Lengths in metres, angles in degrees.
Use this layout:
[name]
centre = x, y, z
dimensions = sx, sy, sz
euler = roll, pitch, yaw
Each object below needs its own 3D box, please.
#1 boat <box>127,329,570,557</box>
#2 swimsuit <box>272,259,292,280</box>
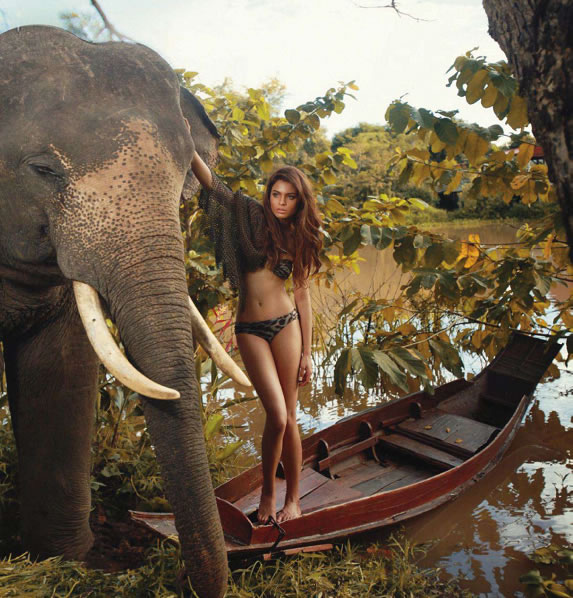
[boat]
centre = 0.476, 0.910, 4.108
dimensions = 2.714, 0.509, 0.714
euler = -18, 40, -36
[swimsuit]
centre = -0.030, -0.168, 3.562
dimensions = 0.107, 0.116, 0.078
euler = 10, 7, -46
